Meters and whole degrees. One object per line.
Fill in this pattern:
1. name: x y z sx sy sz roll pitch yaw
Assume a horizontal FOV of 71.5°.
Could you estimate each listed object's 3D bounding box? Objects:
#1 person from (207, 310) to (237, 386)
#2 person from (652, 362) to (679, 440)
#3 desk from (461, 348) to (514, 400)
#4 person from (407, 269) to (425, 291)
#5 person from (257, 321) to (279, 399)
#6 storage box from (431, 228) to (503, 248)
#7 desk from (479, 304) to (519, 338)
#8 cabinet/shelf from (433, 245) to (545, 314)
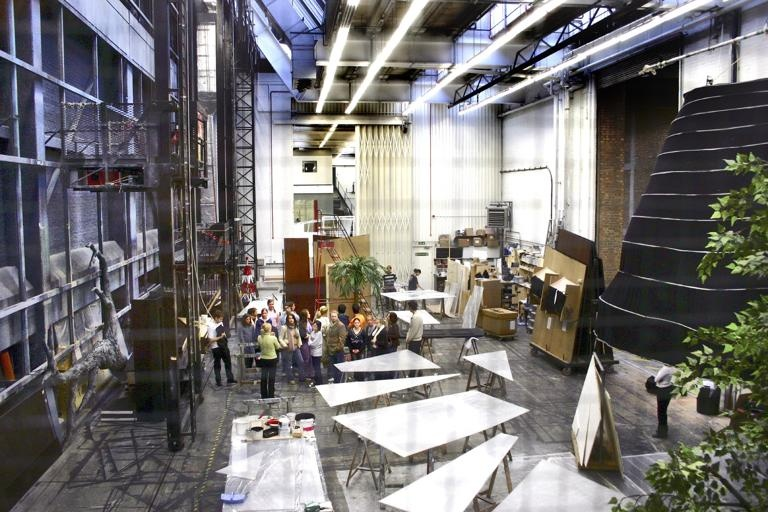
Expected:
1. person: -3.958 2.129 12.898 0.559 1.827 1.185 -3 7 -19
2. person: 5.224 2.629 9.963 0.351 1.495 1.181 3 7 28
3. desk: 2.187 2.615 10.887 1.071 1.152 1.184 7 11 15
4. person: 1.161 0.933 20.154 0.483 1.325 0.561 -6 12 -29
5. person: -2.495 2.262 11.521 0.424 1.626 0.350 -2 7 -14
6. storage box: 3.508 -0.700 21.723 2.405 0.785 0.740 -1 6 -3
7. desk: 3.479 1.714 16.034 0.741 0.976 1.406 -2 4 -19
8. cabinet/shelf: 3.611 1.107 19.358 2.635 1.710 2.698 -1 5 -10
